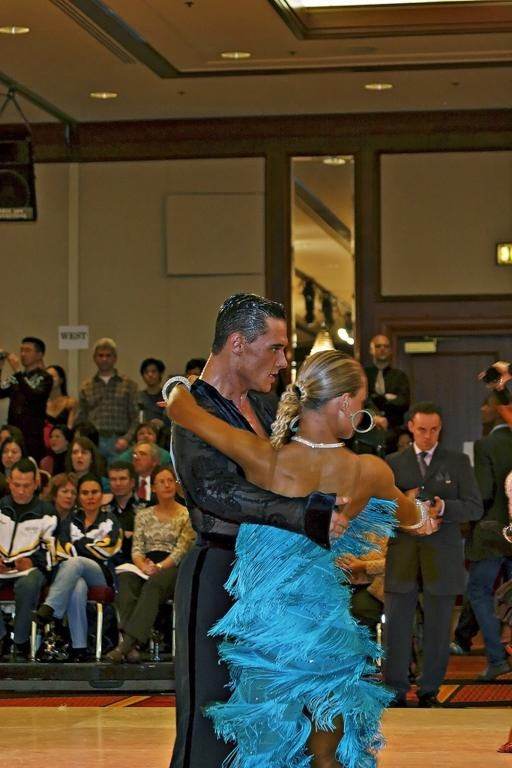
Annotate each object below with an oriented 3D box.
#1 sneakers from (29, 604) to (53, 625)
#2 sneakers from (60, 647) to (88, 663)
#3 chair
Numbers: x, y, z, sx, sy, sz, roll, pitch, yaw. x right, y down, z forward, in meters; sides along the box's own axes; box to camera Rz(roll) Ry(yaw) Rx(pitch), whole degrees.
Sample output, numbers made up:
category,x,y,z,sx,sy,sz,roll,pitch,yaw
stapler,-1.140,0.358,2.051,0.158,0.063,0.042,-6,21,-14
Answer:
category,x,y,z,sx,sy,sz,roll,pitch,yaw
sneakers,-1.144,1.244,4.418,0.054,0.079,0.122,-41,12,14
sneakers,-0.950,1.434,4.375,0.161,0.098,0.052,-6,-16,16
chair,-1.075,1.266,4.637,0.701,0.398,0.465,-2,-31,3
